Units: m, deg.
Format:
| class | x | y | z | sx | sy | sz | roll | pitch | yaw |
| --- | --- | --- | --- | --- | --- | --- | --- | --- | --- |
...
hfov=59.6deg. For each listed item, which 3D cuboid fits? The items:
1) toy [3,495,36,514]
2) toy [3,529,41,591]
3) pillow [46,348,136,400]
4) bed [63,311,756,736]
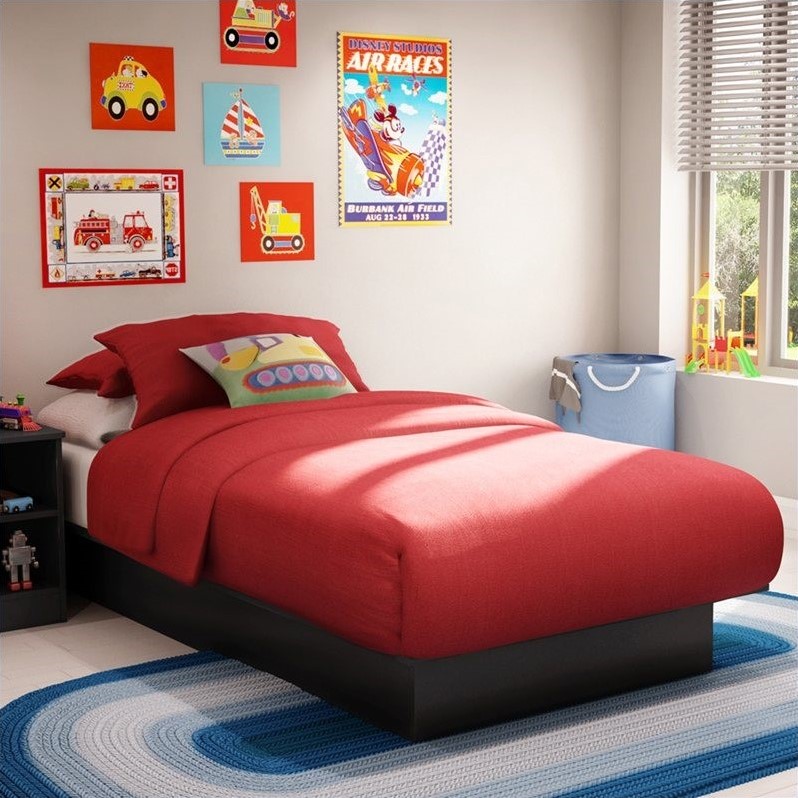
| class | x | y | z | sx | sy | sz | roll | pitch | yaw |
| --- | --- | --- | --- | --- | --- | --- | --- | --- | --- |
| toy | -1.272 | 0.351 | 2.342 | 0.094 | 0.048 | 0.175 | 1 | -4 | -28 |
| toy | -1.289 | 0.539 | 2.386 | 0.110 | 0.187 | 0.220 | 1 | -4 | -28 |
| pillow | -1.136 | -0.089 | 2.651 | 0.244 | 0.076 | 0.266 | 13 | 17 | 40 |
| bed | -0.159 | 0.238 | 1.930 | 0.948 | 0.595 | 1.424 | -4 | 5 | -37 |
